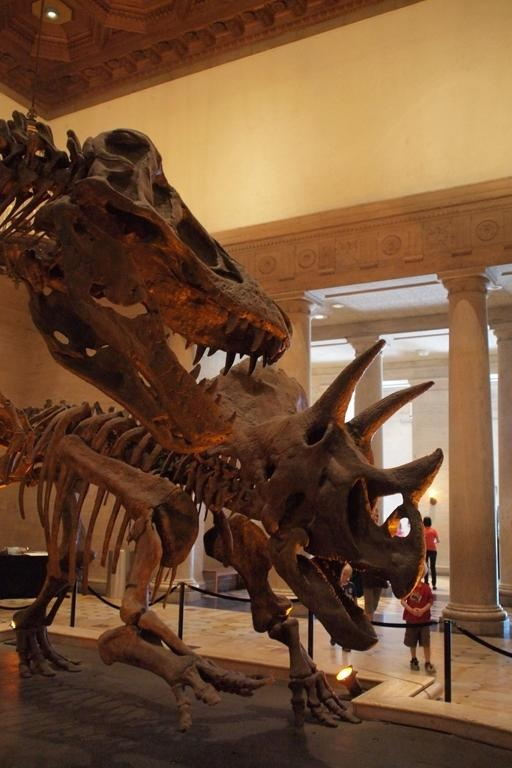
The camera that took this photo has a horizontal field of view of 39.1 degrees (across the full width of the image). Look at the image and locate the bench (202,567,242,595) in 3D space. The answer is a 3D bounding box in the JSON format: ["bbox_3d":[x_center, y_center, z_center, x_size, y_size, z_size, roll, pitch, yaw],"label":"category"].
[{"bbox_3d":[-0.520,2.935,10.679,0.382,0.308,0.986,-2,-12,12],"label":"bench"}]

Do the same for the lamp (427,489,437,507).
[{"bbox_3d":[3.656,2.393,14.999,0.120,0.321,0.194,12,-17,-39],"label":"lamp"}]
